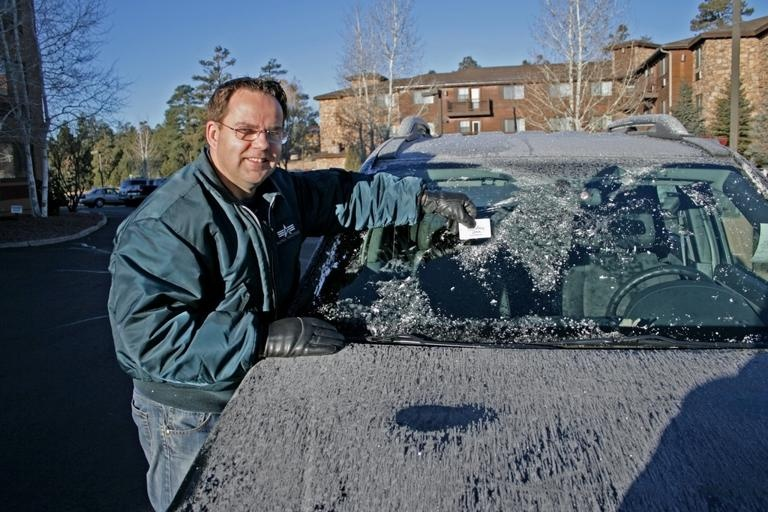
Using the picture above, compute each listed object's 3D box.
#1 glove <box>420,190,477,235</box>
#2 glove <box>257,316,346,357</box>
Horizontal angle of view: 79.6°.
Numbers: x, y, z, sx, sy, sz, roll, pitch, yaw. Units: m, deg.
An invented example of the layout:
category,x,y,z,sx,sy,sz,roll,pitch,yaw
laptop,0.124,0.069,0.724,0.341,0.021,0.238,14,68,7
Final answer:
category,x,y,z,sx,sy,sz,roll,pitch,yaw
glove,0.318,-0.233,2.355,0.349,0.208,0.202,3,8,3
glove,-0.325,0.314,1.794,0.271,0.154,0.083,-1,-37,-7
